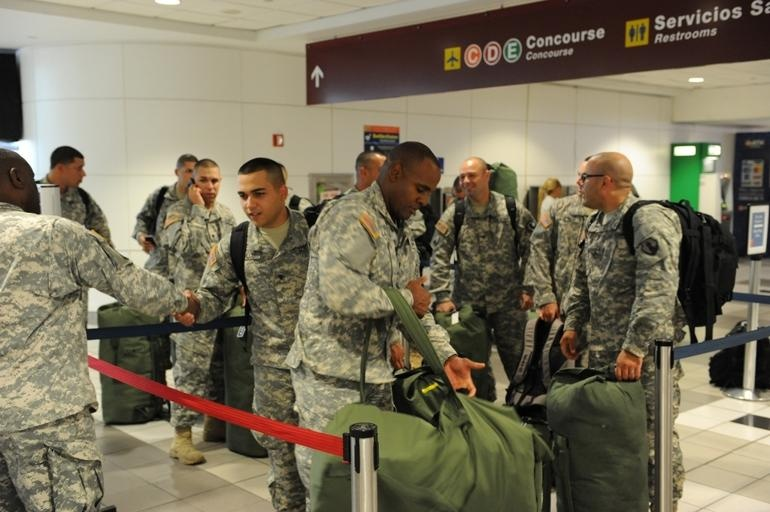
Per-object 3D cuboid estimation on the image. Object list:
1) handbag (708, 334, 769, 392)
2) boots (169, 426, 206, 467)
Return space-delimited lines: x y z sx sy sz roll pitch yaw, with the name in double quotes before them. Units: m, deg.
"handbag" 3.933 1.167 7.281 0.406 0.589 0.673 -3 6 -40
"boots" -1.682 1.589 5.656 0.405 0.297 0.145 5 0 38
